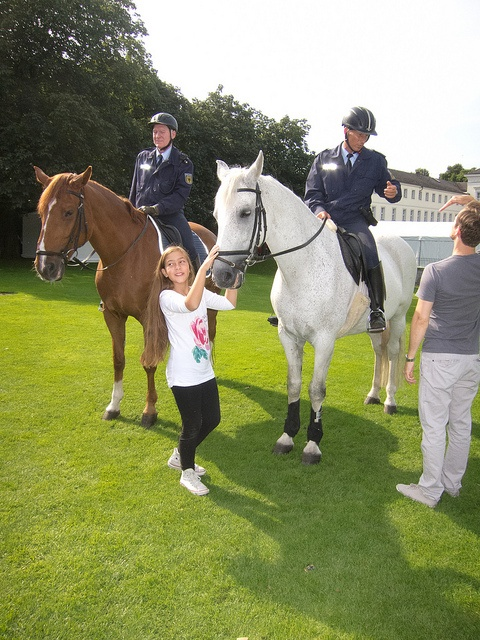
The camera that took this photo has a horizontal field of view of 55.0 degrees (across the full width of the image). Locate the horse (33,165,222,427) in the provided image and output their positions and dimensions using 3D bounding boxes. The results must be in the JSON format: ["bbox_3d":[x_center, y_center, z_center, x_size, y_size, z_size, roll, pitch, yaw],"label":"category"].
[{"bbox_3d":[-1.072,-0.181,5.411,0.724,2.577,2.972,6,7,26],"label":"horse"}]

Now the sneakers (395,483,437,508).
[{"bbox_3d":[1.330,1.310,3.520,0.099,0.119,0.283,-16,42,-43],"label":"sneakers"}]

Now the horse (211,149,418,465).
[{"bbox_3d":[0.902,0.005,4.496,2.693,2.589,0.807,-7,11,-39],"label":"horse"}]

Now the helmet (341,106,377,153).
[{"bbox_3d":[1.097,-1.796,4.365,0.284,0.347,0.376,3,8,1],"label":"helmet"}]

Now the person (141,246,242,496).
[{"bbox_3d":[-0.347,0.365,3.444,0.503,1.826,0.826,-5,10,-43],"label":"person"}]

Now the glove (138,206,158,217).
[{"bbox_3d":[-1.000,-1.213,5.106,0.150,0.081,0.117,25,17,30],"label":"glove"}]

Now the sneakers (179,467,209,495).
[{"bbox_3d":[-0.353,1.185,3.507,0.100,0.145,0.285,-9,13,-39],"label":"sneakers"}]

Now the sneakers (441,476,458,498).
[{"bbox_3d":[1.633,1.280,3.636,0.102,0.207,0.159,-1,-7,15],"label":"sneakers"}]

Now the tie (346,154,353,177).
[{"bbox_3d":[1.083,-1.532,4.585,0.041,0.203,0.055,4,3,15],"label":"tie"}]

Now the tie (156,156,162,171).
[{"bbox_3d":[-0.937,-1.831,5.390,0.067,0.132,0.031,10,3,28],"label":"tie"}]

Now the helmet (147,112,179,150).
[{"bbox_3d":[-0.842,-2.126,5.257,0.301,0.449,0.388,5,9,16],"label":"helmet"}]
